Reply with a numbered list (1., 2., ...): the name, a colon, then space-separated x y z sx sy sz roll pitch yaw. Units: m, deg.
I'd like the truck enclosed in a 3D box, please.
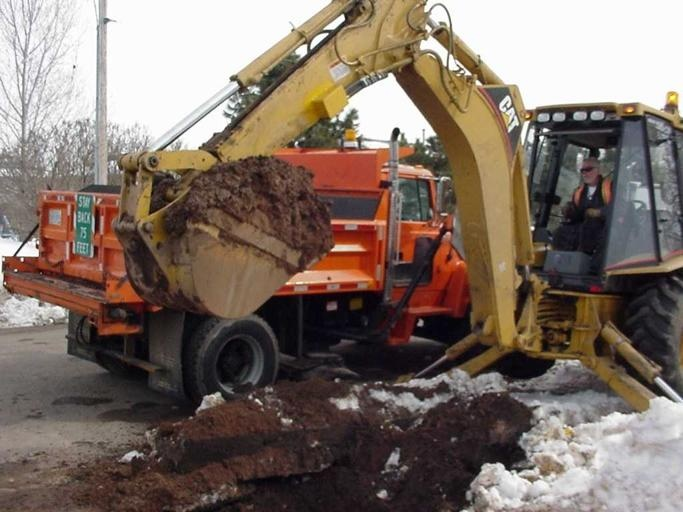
1. truck: -0.833 0.415 7.843 5.505 2.872 3.032 -4 6 -38
